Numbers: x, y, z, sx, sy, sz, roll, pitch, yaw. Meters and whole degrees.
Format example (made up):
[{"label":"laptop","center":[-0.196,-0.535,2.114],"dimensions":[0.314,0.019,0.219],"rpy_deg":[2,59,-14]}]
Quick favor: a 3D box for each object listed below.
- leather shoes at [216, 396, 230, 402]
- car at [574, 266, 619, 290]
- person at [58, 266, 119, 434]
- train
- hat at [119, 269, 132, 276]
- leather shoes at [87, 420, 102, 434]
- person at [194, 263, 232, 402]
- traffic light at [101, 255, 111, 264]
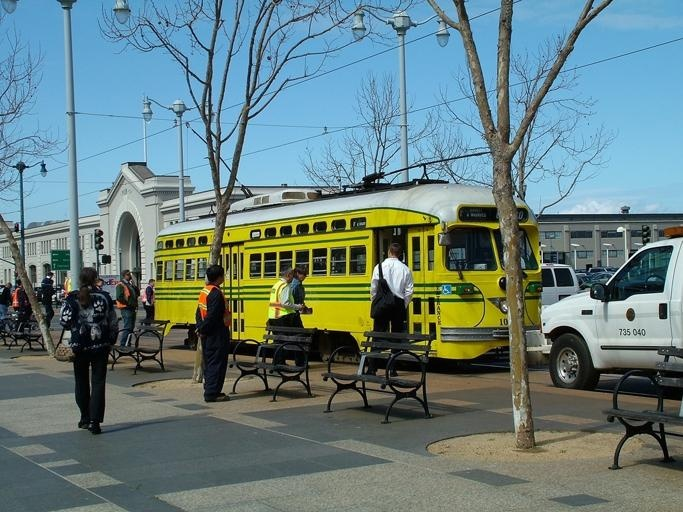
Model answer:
[{"label":"leather shoes","center":[-1.979,2.364,13.318],"dimensions":[0.154,0.103,0.349],"rpy_deg":[-2,-3,13]},{"label":"car","center":[11.431,0.893,35.827],"dimensions":[1.957,0.678,0.866],"rpy_deg":[-9,8,-17]},{"label":"person","center":[-3.522,1.274,11.103],"dimensions":[0.737,2.292,0.699],"rpy_deg":[-1,-3,-17]},{"label":"train","center":[0.630,0.337,19.798],"dimensions":[4.147,4.132,13.810],"rpy_deg":[-2,-1,-37]},{"label":"hat","center":[-5.937,0.452,21.822],"dimensions":[0.472,0.139,0.481],"rpy_deg":[0,-5,-32]},{"label":"leather shoes","center":[-3.377,2.323,10.830],"dimensions":[0.103,0.121,0.278],"rpy_deg":[0,5,-37]},{"label":"person","center":[-2.225,1.272,13.749],"dimensions":[0.577,2.334,1.164],"rpy_deg":[-1,-3,-11]},{"label":"traffic light","center":[-10.605,0.132,35.660],"dimensions":[0.340,0.417,0.598],"rpy_deg":[-2,2,-33]}]
